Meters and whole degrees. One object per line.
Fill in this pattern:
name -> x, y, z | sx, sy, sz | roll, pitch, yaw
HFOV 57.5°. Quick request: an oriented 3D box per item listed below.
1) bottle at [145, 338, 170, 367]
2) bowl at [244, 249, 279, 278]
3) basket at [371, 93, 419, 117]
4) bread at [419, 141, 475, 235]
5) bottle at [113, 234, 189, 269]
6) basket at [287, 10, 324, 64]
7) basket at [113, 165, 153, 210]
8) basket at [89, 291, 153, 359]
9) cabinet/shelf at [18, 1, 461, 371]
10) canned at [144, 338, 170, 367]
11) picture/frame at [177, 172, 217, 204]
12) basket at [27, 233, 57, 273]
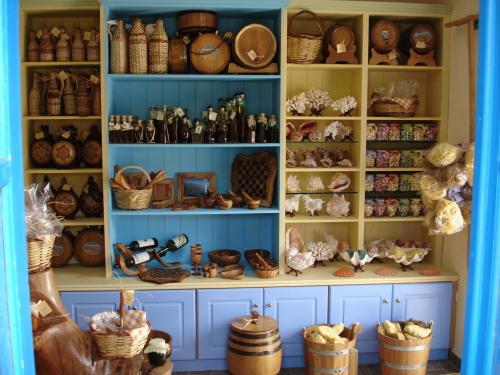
bottle -> -0.574, 1.021, 2.824 | 0.154, 0.136, 0.113 | 0, 4, -9
bowl -> 0.104, 0.659, 4.095 | 0.251, 0.196, 0.496 | -2, 5, -10
basket -> 1.298, -0.729, 4.118 | 0.310, 0.123, 0.250 | 0, 8, 1
bread -> 1.353, 0.015, 3.103 | 0.251, 0.619, 0.453 | 4, 16, 30
bottle -> -0.866, 0.573, 4.057 | 0.319, 0.150, 0.467 | 14, 20, 35
basket -> 0.485, -1.293, 4.008 | 0.314, 0.452, 0.421 | -1, 5, 9
basket -> -1.023, -0.004, 3.889 | 0.344, 0.386, 0.394 | 1, 7, -7
basket -> -0.749, 0.790, 2.715 | 0.431, 0.279, 0.351 | 0, 3, -3
cabinet/shelf -> -0.105, -0.063, 3.812 | 3.411, 2.812, 0.745 | -1, 2, -5
canned -> -0.577, 1.007, 2.810 | 0.138, 0.117, 0.125 | -2, 6, -19
picture/frame -> -0.508, 0.006, 4.202 | 0.306, 0.243, 0.021 | 0, 1, -4
basket -> -1.188, 0.373, 2.674 | 0.211, 0.195, 0.200 | -1, 6, -22
